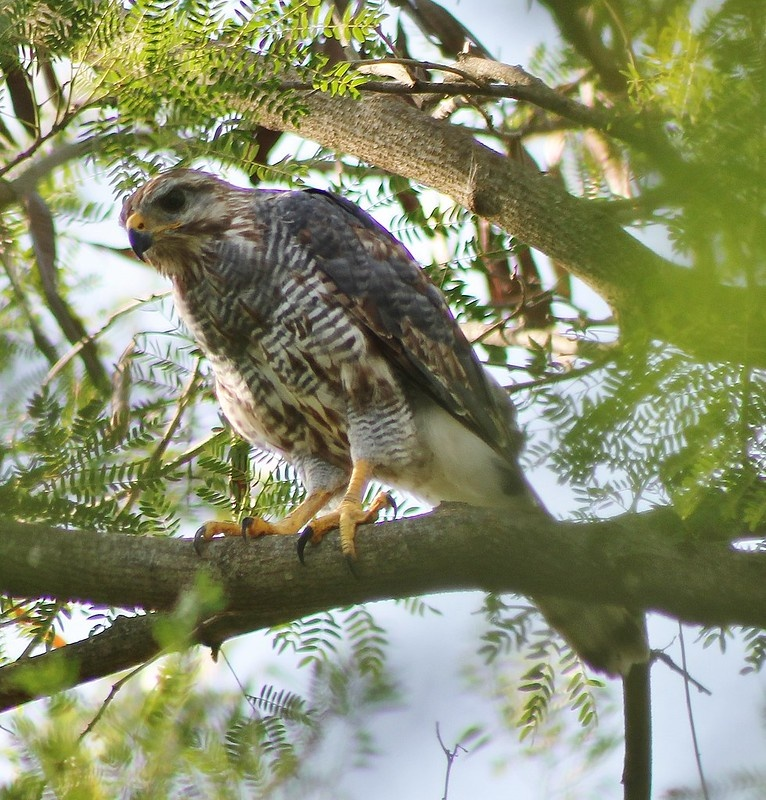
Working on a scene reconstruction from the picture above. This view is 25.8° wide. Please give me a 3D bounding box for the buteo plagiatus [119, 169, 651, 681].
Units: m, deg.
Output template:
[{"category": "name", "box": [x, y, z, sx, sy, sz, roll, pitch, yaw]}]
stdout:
[{"category": "buteo plagiatus", "box": [-0.004, -0.001, 5.293, 1.882, 1.028, 0.676, 21, -38, -31]}]
